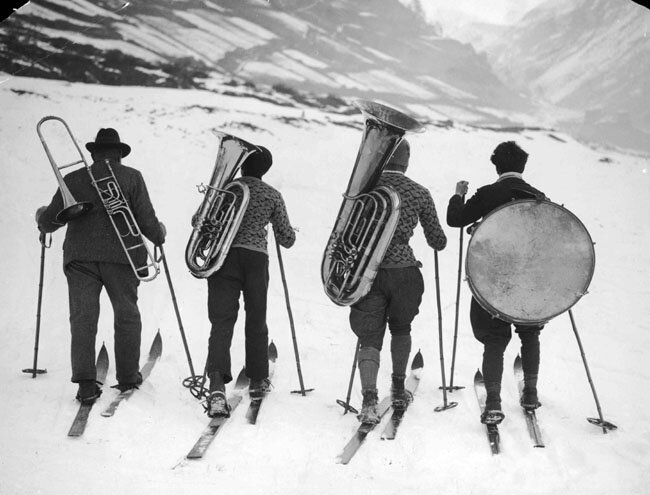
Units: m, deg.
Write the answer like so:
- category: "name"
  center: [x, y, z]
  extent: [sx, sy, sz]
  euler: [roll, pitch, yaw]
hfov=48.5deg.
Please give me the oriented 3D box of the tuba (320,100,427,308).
- category: "tuba"
  center: [0.334, -0.290, 5.511]
  extent: [0.508, 1.671, 0.587]
  euler: [29, 25, 24]

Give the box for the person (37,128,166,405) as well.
- category: "person"
  center: [-1.743, 0.153, 5.771]
  extent: [0.840, 2.105, 0.801]
  euler: [-5, 18, -43]

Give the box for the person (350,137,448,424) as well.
- category: "person"
  center: [0.540, 0.321, 5.532]
  extent: [0.723, 2.173, 0.923]
  euler: [8, 15, 5]

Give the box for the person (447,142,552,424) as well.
- category: "person"
  center: [1.189, 0.268, 5.800]
  extent: [0.745, 2.288, 0.922]
  euler: [0, -8, 3]

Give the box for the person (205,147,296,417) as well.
- category: "person"
  center: [-0.645, 0.227, 5.994]
  extent: [0.770, 2.128, 0.974]
  euler: [3, -3, 43]

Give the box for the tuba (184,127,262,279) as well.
- category: "tuba"
  center: [-0.859, -0.330, 5.716]
  extent: [0.438, 1.177, 0.356]
  euler: [19, 6, -32]

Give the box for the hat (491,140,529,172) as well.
- category: "hat"
  center: [1.467, -0.723, 5.672]
  extent: [0.235, 0.255, 0.265]
  euler: [3, 13, 14]
